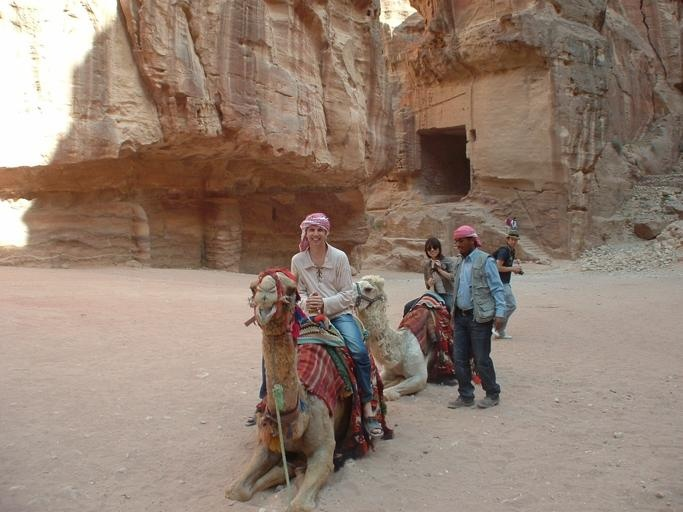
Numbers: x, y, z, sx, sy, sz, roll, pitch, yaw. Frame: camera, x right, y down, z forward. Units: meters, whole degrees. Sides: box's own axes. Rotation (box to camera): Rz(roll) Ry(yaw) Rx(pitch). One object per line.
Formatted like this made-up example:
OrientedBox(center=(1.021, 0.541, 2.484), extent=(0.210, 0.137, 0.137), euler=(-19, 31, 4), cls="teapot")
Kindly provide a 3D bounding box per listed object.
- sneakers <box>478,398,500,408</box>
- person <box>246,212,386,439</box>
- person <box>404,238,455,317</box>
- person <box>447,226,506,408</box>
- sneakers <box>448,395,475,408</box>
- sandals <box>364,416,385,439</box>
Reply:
OrientedBox(center=(1.674, 1.657, 7.186), extent=(0.254, 0.098, 0.096), euler=(4, -11, -44), cls="sneakers")
OrientedBox(center=(-0.201, 0.605, 6.348), extent=(1.302, 2.078, 1.010), euler=(2, 0, 6), cls="person")
OrientedBox(center=(1.223, 0.201, 8.525), extent=(0.503, 1.134, 0.546), euler=(-3, 6, 14), cls="person")
OrientedBox(center=(1.553, 0.684, 7.198), extent=(0.740, 2.072, 0.612), euler=(-3, -7, 42), cls="person")
OrientedBox(center=(1.374, 1.666, 7.281), extent=(0.317, 0.136, 0.122), euler=(2, -3, -11), cls="sneakers")
OrientedBox(center=(0.326, 1.671, 6.170), extent=(0.110, 0.110, 0.282), euler=(0, 4, 0), cls="sandals")
